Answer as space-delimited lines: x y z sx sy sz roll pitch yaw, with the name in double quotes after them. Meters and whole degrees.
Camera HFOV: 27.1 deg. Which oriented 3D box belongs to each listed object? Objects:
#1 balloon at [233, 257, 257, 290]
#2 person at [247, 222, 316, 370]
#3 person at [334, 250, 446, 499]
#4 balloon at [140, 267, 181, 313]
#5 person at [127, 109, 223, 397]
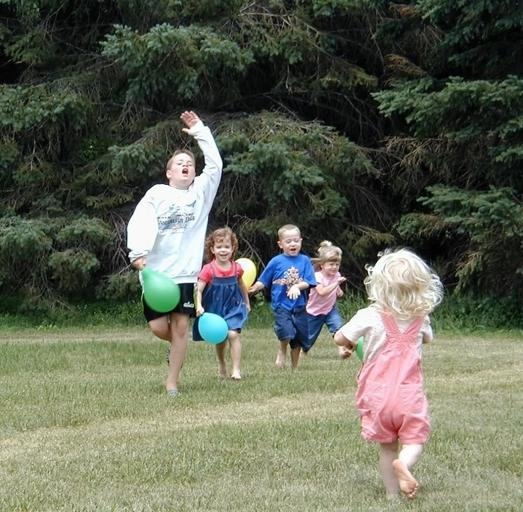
-0.206 0.198 13.158 0.266 0.381 0.316 -1 40 1 "balloon"
0.282 0.463 12.300 0.655 1.595 0.761 0 4 2 "person"
0.976 0.874 8.404 0.694 1.810 0.688 1 4 25 "person"
-0.967 0.334 10.472 0.367 0.449 0.312 -1 4 -5 "balloon"
-0.857 -0.033 10.731 0.645 2.776 1.249 1 4 20 "person"
